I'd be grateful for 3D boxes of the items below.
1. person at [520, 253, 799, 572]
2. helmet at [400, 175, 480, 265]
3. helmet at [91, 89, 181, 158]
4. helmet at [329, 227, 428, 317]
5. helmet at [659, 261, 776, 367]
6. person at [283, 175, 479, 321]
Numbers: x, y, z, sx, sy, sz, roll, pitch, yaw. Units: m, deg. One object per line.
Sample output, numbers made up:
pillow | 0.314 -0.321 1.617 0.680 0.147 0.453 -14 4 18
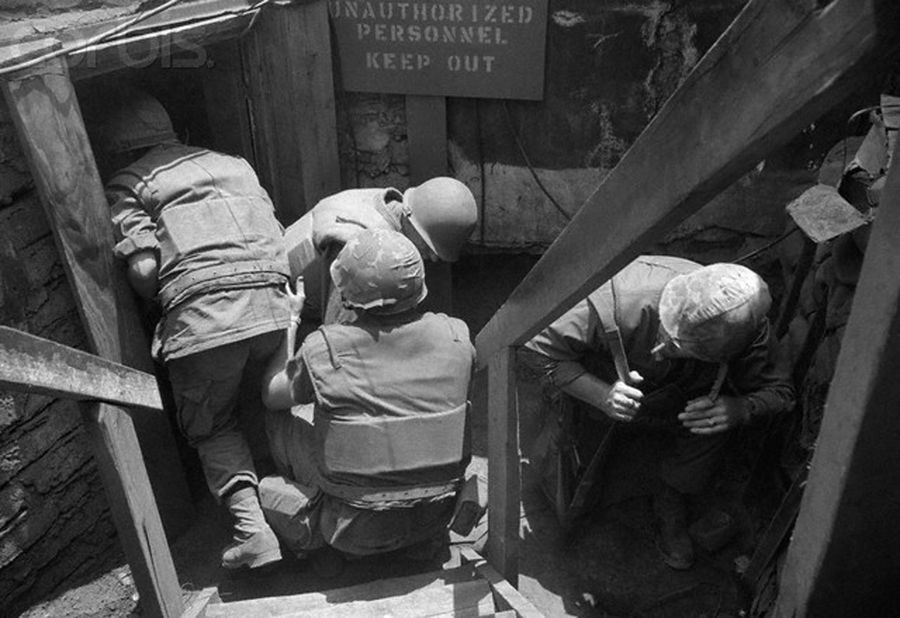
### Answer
person | 1.129 0.471 4.443 1.151 1.995 1.339 -17 34 -31
helmet | -0.025 -0.568 4.707 0.405 0.271 0.529 -20 79 -46
helmet | -1.776 -1.052 4.436 0.413 0.386 0.310 -24 32 -12
helmet | -0.323 -0.165 3.886 0.382 0.344 0.424 32 42 4
helmet | 1.265 0.021 3.682 0.490 0.394 0.285 -5 31 -7
person | -0.621 -0.420 4.952 1.543 0.559 1.147 -15 12 -4
